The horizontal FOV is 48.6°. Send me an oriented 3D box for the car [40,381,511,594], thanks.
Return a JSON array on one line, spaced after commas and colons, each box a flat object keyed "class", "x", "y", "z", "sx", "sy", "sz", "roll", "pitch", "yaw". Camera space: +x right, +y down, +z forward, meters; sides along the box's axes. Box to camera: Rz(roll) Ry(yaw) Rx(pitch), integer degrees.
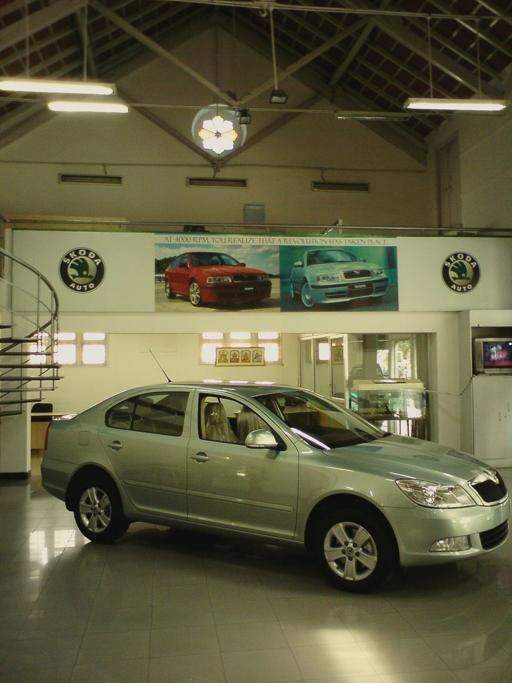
[{"class": "car", "x": 0.024, "y": 0.828, "z": 4.393, "sx": 3.280, "sy": 1.064, "sz": 1.486, "roll": -1, "pitch": -2, "yaw": 27}]
